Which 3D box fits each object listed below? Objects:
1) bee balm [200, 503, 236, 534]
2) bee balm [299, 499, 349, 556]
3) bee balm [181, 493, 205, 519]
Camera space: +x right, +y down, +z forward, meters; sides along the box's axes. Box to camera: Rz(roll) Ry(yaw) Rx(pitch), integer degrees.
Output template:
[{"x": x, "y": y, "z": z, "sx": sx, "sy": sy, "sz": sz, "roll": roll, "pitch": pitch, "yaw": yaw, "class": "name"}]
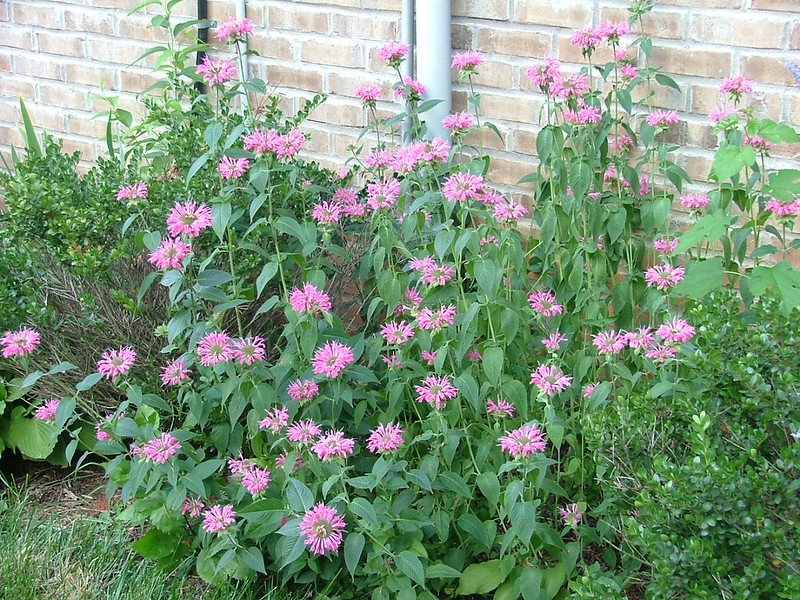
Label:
[{"x": -0.573, "y": 0.690, "z": 2.227, "sx": 0.088, "sy": 0.044, "sz": 0.098, "roll": 15, "pitch": 40, "yaw": 30, "class": "bee balm"}, {"x": -0.222, "y": 0.658, "z": 2.053, "sx": 0.113, "sy": 0.178, "sz": 0.102, "roll": -12, "pitch": 16, "yaw": -42, "class": "bee balm"}, {"x": -0.702, "y": 0.712, "z": 2.395, "sx": 0.074, "sy": 0.091, "sz": 0.063, "roll": 2, "pitch": 13, "yaw": -2, "class": "bee balm"}]
